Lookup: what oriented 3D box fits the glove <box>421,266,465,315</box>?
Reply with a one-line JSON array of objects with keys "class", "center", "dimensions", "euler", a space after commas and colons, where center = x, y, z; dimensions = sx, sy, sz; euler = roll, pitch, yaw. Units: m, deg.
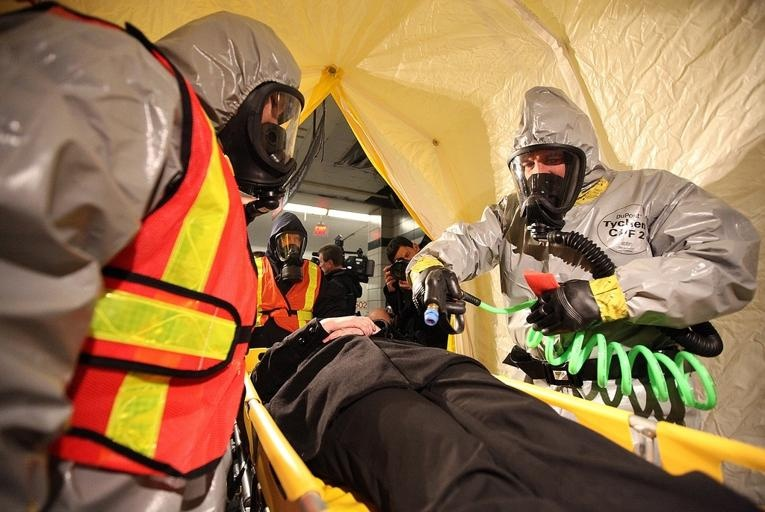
[{"class": "glove", "center": [0.243, 0.136, 1.880], "dimensions": [0.178, 0.176, 0.080], "euler": [10, -19, -39]}]

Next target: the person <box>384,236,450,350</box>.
[{"class": "person", "center": [0.202, 0.255, 3.701], "dimensions": [0.755, 0.741, 0.309], "euler": [-18, 19, -39]}]
